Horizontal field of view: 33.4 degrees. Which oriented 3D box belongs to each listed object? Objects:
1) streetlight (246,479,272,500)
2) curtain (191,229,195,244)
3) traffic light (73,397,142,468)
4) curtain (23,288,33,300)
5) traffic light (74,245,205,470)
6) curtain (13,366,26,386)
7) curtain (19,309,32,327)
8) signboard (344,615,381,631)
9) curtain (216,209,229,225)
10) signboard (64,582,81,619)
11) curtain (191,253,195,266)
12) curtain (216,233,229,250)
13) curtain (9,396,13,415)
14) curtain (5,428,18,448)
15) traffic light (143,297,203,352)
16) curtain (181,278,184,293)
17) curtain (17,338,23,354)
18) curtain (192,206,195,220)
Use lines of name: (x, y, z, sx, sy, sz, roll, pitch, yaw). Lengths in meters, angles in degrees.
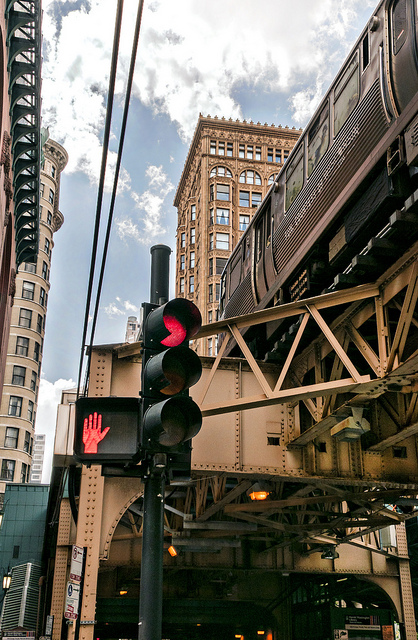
streetlight: (1.050, 3.568, 14.555, 0.532, 0.334, 0.345, -17, -28, 38)
curtain: (-1.767, -9.053, 75.329, 0.255, 1.596, 0.777, 10, -23, -22)
traffic light: (-0.622, 0.701, 4.320, 0.404, 0.438, 0.150, 0, -17, -4)
curtain: (-19.912, -2.784, 75.990, 0.108, 1.122, 1.080, -35, -43, 29)
traffic light: (-0.350, 0.174, 4.537, 0.801, 1.604, 0.594, -13, -25, 31)
curtain: (-19.791, 5.925, 71.983, 0.211, 2.074, 1.516, -33, -37, 31)
curtain: (-19.882, -0.107, 74.810, 1.313, 2.509, 0.091, 22, -41, -41)
signboard: (4.615, 9.209, 21.070, 0.291, 0.453, 1.311, 13, -25, -28)
curtain: (1.306, -10.657, 72.416, 1.616, 1.760, 0.233, 1, 0, -6)
signboard: (-2.192, 4.521, 11.167, 0.213, 0.531, 0.497, 5, -22, -9)
curtain: (-1.785, -6.602, 75.616, 0.116, 1.665, 1.215, 1, -5, -21)
curtain: (1.286, -7.982, 71.480, 1.629, 2.136, 0.097, 3, -19, -9)
curtain: (-19.959, 8.607, 69.861, 0.271, 1.900, 0.309, 13, -24, -28)
curtain: (-19.610, 11.727, 68.536, 0.389, 1.934, 1.380, -33, -37, 32)
traffic light: (-0.239, 0.050, 4.462, 0.407, 0.414, 0.301, 5, -5, -40)
curtain: (-3.004, -3.823, 78.099, 0.161, 1.611, 0.677, 13, -24, -28)
curtain: (-19.983, 2.799, 73.236, 0.217, 1.844, 0.598, -17, -27, 38)
curtain: (-1.744, -11.755, 76.307, 0.136, 1.974, 0.974, 10, -23, -22)
